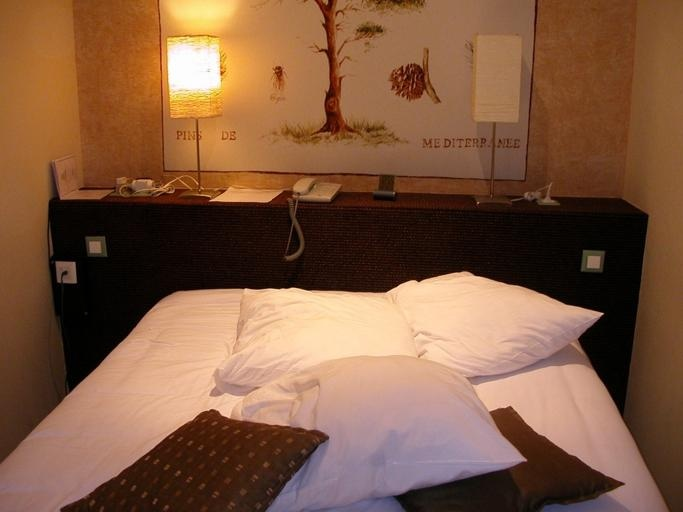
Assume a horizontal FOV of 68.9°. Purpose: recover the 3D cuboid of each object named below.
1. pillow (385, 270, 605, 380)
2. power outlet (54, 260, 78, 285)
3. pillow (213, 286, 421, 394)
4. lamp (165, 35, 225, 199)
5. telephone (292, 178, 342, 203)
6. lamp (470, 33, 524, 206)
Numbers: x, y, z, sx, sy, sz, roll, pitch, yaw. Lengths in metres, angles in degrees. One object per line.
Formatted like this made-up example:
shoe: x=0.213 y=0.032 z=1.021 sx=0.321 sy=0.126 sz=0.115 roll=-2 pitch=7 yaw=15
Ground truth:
pillow: x=0.613 y=0.271 z=2.055 sx=0.511 sy=0.170 sz=0.550 roll=-1 pitch=19 yaw=17
power outlet: x=-1.493 y=0.087 z=2.669 sx=0.122 sy=0.119 sz=0.029 roll=4 pitch=6 yaw=-7
pillow: x=-0.113 y=0.314 z=1.986 sx=0.477 sy=0.135 sz=0.490 roll=-2 pitch=19 yaw=-6
lamp: x=-0.815 y=-0.775 z=2.828 sx=0.314 sy=0.879 sz=0.276 roll=-3 pitch=11 yaw=-3
telephone: x=-0.129 y=-0.377 z=2.808 sx=0.241 sy=0.129 sz=0.324 roll=-1 pitch=11 yaw=6
lamp: x=0.830 y=-0.705 z=2.647 sx=0.228 sy=0.850 sz=0.350 roll=2 pitch=12 yaw=19
